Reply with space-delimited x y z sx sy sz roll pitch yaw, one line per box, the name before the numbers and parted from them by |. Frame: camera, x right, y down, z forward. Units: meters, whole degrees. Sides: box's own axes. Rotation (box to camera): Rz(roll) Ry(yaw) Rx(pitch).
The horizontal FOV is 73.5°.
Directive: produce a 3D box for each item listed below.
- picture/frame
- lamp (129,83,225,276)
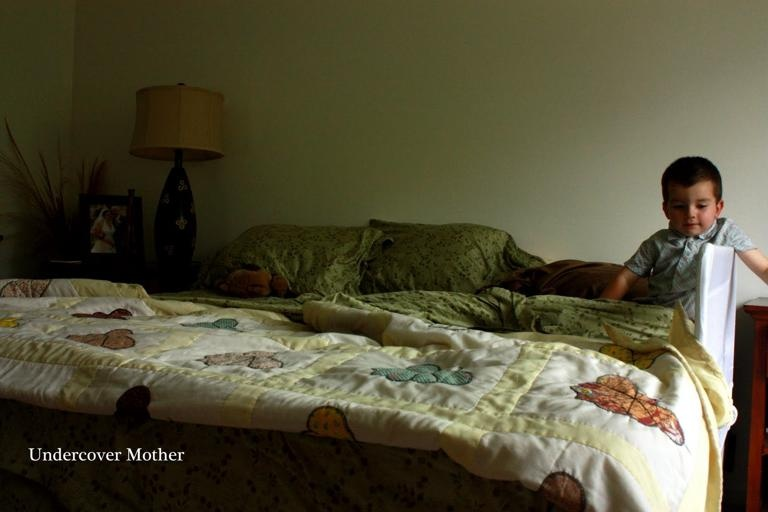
picture/frame | -1.441 -0.122 2.704 0.433 0.527 0.040 -1 -5 -28
lamp | -1.107 -0.411 2.807 0.465 0.977 0.379 -6 12 -26
